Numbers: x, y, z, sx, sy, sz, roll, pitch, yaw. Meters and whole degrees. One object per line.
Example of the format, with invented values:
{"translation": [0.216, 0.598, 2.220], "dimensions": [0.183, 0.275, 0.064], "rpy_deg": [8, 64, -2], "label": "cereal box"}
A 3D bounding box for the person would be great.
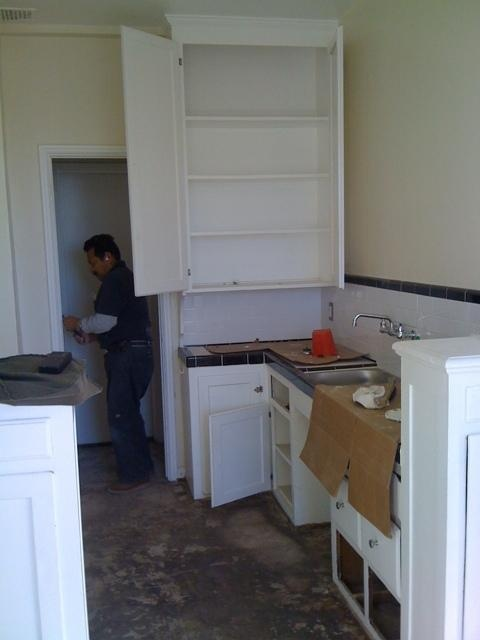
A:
{"translation": [-0.877, 0.254, 3.558], "dimensions": [0.458, 1.680, 0.504], "rpy_deg": [-3, 4, -2], "label": "person"}

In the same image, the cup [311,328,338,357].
{"translation": [0.457, 0.131, 2.820], "dimensions": [0.119, 0.148, 0.136], "rpy_deg": [3, 19, 16], "label": "cup"}
